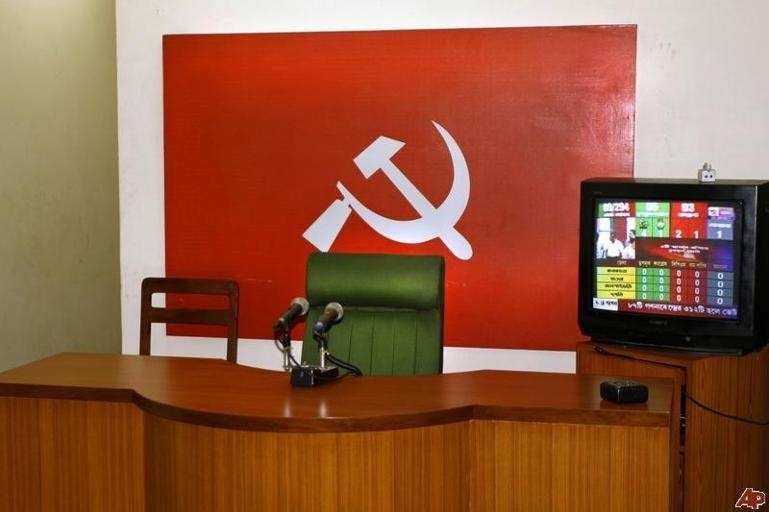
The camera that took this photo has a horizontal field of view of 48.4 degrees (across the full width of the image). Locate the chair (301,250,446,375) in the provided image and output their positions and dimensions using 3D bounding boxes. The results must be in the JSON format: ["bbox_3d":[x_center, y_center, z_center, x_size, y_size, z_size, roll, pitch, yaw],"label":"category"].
[{"bbox_3d":[0.045,0.300,5.106,0.666,1.040,0.718,0,1,8],"label":"chair"}]

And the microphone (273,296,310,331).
[{"bbox_3d":[-0.484,0.311,4.404,0.100,0.111,0.326,7,20,15],"label":"microphone"}]

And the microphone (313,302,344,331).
[{"bbox_3d":[-0.288,0.327,4.389,0.103,0.107,0.195,2,19,18],"label":"microphone"}]
